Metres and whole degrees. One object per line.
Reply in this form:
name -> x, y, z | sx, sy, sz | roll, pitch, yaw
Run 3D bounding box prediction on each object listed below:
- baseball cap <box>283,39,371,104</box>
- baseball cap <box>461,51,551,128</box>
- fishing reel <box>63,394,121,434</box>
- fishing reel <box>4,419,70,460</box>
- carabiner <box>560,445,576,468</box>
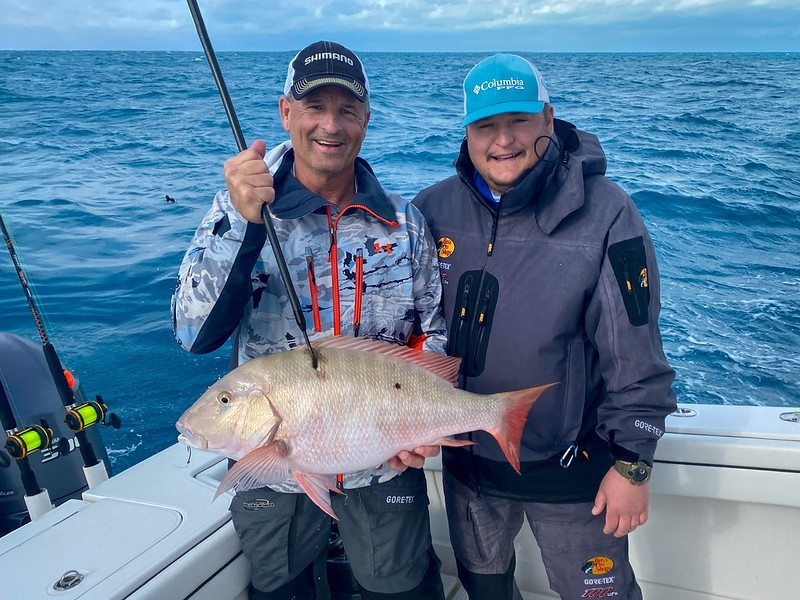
baseball cap -> -0.364, -1.191, 3.364 | 0.414, 0.250, 0.511 | 2, 20, 1
baseball cap -> 0.543, -1.153, 3.561 | 0.460, 0.306, 0.573 | -5, 28, 13
fishing reel -> -1.813, 0.680, 3.916 | 0.283, 0.151, 0.286 | -1, 9, 41
fishing reel -> -2.085, 0.779, 3.771 | 0.249, 0.126, 0.268 | 7, 2, 28
carabiner -> 0.868, 0.802, 3.398 | 0.074, 0.120, 0.037 | 37, -3, -3
